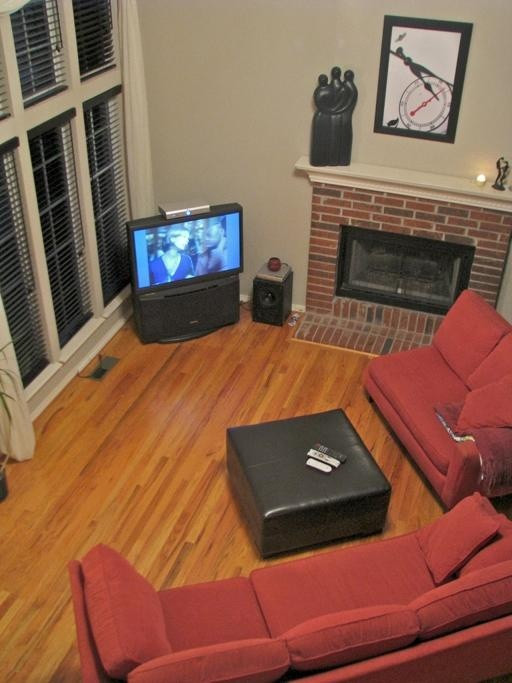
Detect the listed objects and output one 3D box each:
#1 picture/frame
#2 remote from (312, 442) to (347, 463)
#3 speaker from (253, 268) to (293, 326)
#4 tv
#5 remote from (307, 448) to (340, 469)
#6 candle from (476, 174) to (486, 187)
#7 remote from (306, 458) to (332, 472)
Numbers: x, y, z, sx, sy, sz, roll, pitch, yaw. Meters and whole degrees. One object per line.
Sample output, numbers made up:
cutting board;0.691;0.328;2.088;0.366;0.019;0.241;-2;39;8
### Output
picture/frame;1.214;-1.905;3.758;0.689;0.999;0.048;14;43;17
remote;0.417;0.609;2.904;0.158;0.034;0.082;27;34;18
speaker;0.171;-0.462;4.958;0.323;0.501;0.365;11;31;12
tv;-0.592;-0.779;4.431;0.798;0.569;0.108;-15;40;-18
remote;0.374;0.629;2.869;0.144;0.037;0.080;22;33;20
candle;1.682;-1.214;3.933;0.072;0.082;0.088;1;51;9
remote;0.355;0.658;2.822;0.112;0.020;0.060;21;45;23
